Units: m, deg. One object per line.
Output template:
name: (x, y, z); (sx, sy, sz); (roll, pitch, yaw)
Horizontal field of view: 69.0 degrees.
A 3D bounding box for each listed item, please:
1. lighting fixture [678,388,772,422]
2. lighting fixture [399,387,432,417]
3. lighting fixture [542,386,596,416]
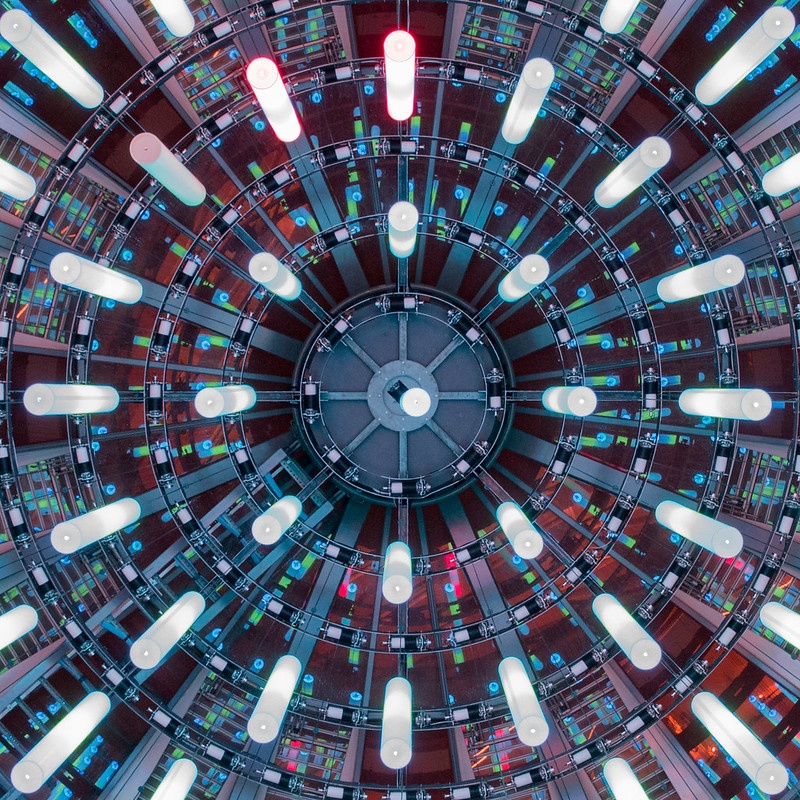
lighting fixture: (11.176, 0.122, 20.330); (1.587, 2.921, 0.957); (1, -89, 1)
lighting fixture: (0.731, 0.118, 22.114); (1.298, 1.083, 1.082); (-15, -88, -4)
lighting fixture: (6.255, 0.003, 21.384); (0.761, 2.262, 0.694); (-17, -90, -1)
